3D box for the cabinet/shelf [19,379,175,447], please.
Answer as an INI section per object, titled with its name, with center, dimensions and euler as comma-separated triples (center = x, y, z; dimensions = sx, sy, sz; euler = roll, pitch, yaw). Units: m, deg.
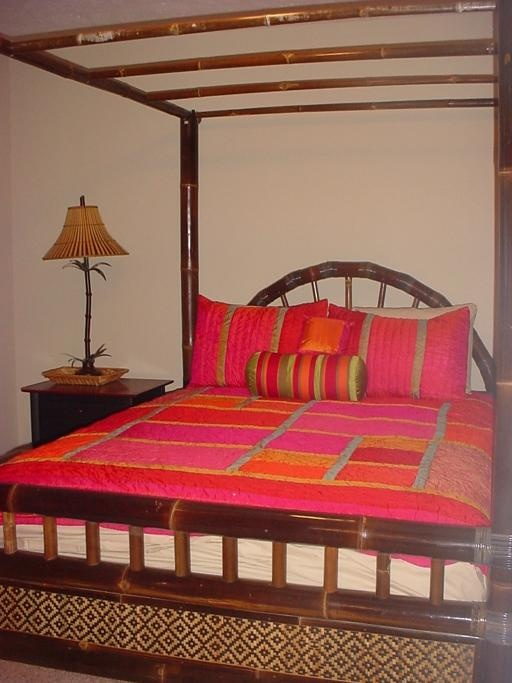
[cabinet/shelf]
center = -0.771, 0.380, 2.875
dimensions = 0.448, 0.371, 0.379
euler = 0, 2, 6
